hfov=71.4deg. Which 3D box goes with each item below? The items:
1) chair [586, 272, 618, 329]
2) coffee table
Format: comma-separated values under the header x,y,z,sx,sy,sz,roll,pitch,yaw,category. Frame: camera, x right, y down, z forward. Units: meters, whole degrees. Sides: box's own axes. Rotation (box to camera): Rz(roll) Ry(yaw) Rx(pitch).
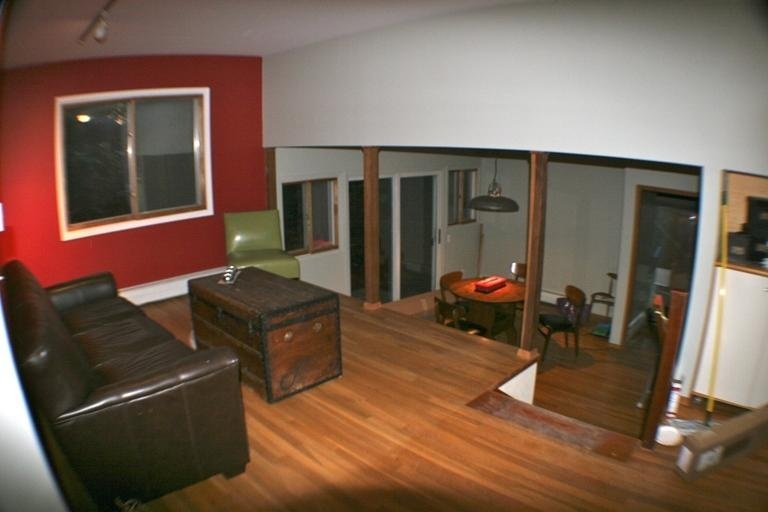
x,y,z,sx,sy,sz,roll,pitch,yaw,category
3.390,0.621,8.363,0.372,0.698,0.615,4,13,22,chair
-0.980,0.272,4.514,0.907,0.793,1.653,-12,17,-38,coffee table
